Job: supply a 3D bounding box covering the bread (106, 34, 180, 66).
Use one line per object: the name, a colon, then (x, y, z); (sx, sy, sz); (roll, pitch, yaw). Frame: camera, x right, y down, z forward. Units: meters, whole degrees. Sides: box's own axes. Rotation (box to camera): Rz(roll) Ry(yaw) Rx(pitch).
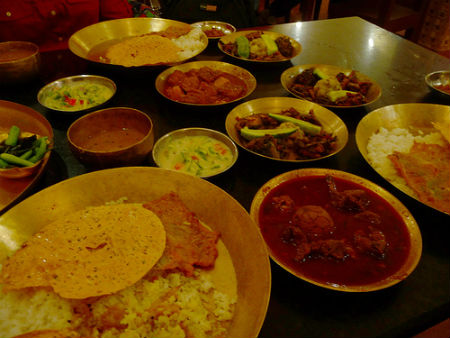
bread: (-0.773, -1.119, 3.303); (0.520, 0.142, 0.505); (-2, 38, -7)
